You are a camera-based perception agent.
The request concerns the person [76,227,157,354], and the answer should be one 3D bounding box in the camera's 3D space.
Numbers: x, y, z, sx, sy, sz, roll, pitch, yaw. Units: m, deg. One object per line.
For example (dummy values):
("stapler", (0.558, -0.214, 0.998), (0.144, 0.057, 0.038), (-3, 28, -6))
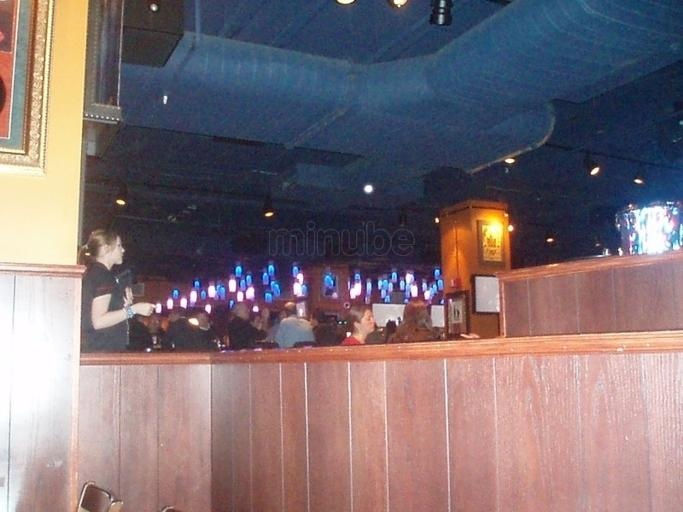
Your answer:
("person", (-1.586, 0.238, 4.371), (0.518, 0.879, 0.430), (-14, 4, -24))
